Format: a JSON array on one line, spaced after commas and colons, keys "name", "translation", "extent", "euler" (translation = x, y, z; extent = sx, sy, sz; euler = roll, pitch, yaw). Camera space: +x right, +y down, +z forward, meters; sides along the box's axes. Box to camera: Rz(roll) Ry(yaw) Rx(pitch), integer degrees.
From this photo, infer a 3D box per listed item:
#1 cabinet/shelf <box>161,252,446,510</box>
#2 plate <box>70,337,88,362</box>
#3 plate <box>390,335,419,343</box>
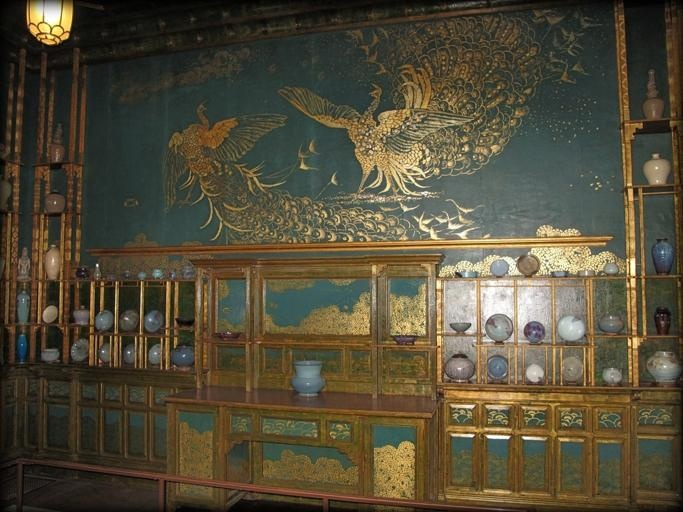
[{"name": "cabinet/shelf", "translation": [-0.326, 1.522, 8.857], "extent": [2.741, 2.793, 1.080], "euler": [-1, -5, 12]}, {"name": "plate", "translation": [-3.554, 1.262, 10.166], "extent": [0.225, 0.291, 0.057], "euler": [5, -11, -20]}, {"name": "plate", "translation": [0.758, 0.992, 8.972], "extent": [0.296, 0.111, 0.172], "euler": [0, -6, 1]}]
